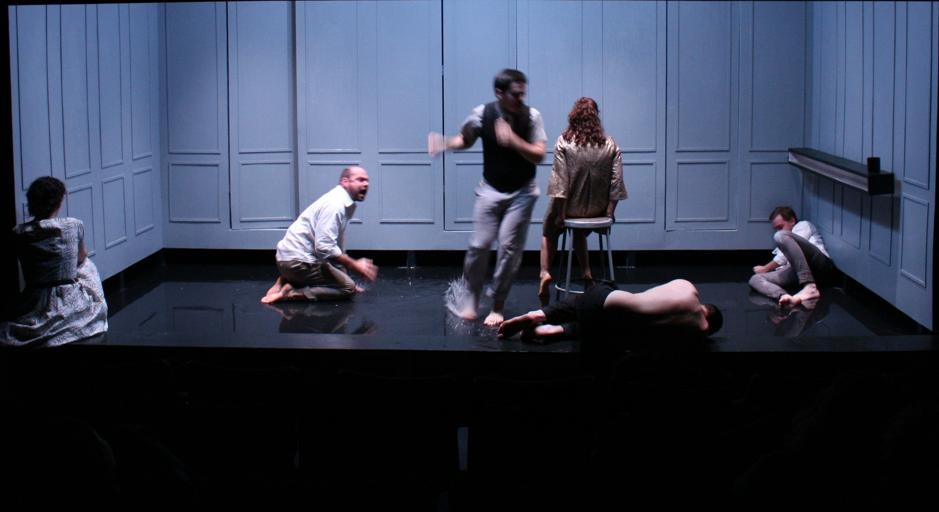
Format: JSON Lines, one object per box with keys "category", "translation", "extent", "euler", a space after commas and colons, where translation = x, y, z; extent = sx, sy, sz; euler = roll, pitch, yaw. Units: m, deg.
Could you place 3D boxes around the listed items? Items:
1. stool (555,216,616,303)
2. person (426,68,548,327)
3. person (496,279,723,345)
{"category": "stool", "translation": [1.291, 0.129, 6.865], "extent": [0.857, 1.042, 0.851], "euler": [0, 8, 13]}
{"category": "person", "translation": [0.243, -0.476, 5.635], "extent": [0.652, 2.315, 0.811], "euler": [-15, 21, -41]}
{"category": "person", "translation": [1.289, 0.543, 5.556], "extent": [1.961, 0.632, 1.120], "euler": [2, -1, -1]}
